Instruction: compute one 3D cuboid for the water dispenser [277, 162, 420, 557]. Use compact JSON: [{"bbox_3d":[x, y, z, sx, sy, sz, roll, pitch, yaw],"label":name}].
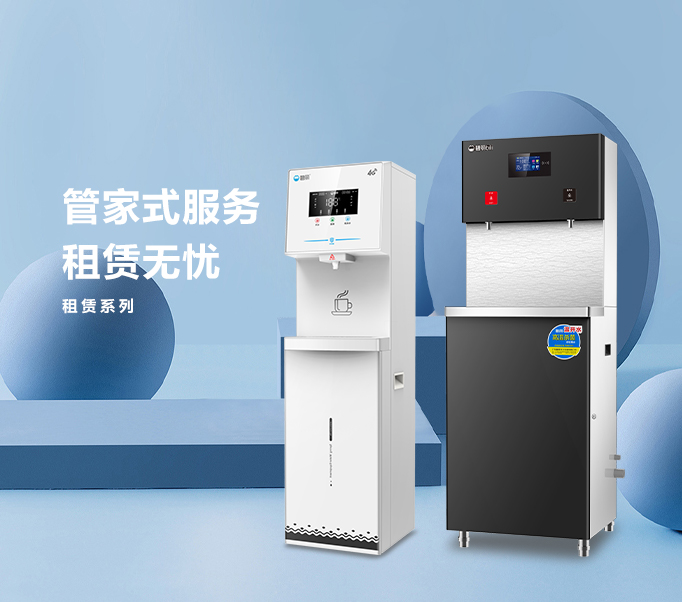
[{"bbox_3d":[0.042,0.283,4.333,0.611,2.019,0.647,1,6,18],"label":"water dispenser"}]
